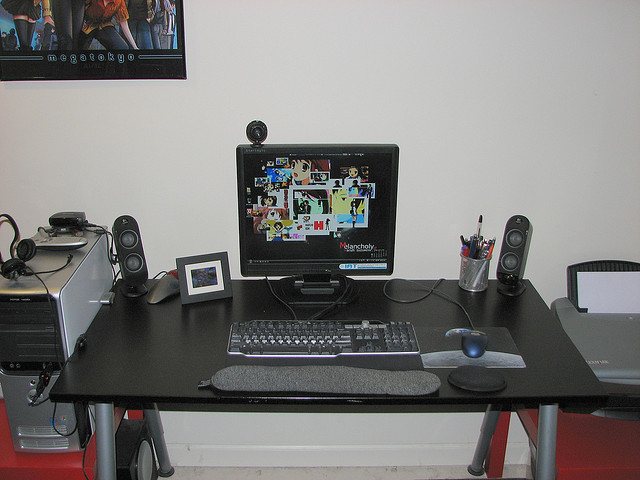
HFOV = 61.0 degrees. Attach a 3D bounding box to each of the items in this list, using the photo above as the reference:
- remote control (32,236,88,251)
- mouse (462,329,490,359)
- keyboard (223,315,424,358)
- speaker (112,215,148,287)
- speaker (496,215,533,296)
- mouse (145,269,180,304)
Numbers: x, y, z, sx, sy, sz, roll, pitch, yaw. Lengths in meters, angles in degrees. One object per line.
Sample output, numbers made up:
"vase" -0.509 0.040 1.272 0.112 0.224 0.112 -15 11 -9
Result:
"remote control" -0.953 0.008 2.014 0.136 0.024 0.081 0 12 -10
"mouse" 0.530 0.343 1.861 0.088 0.054 0.157 2 21 21
"keyboard" 0.004 0.336 1.936 0.700 0.096 0.245 2 11 0
"speaker" -0.739 0.046 2.131 0.109 0.294 0.114 -2 19 -17
"speaker" 0.808 0.048 2.237 0.106 0.311 0.117 12 20 24
"mouse" -0.611 0.189 2.159 0.083 0.050 0.142 -8 24 29
